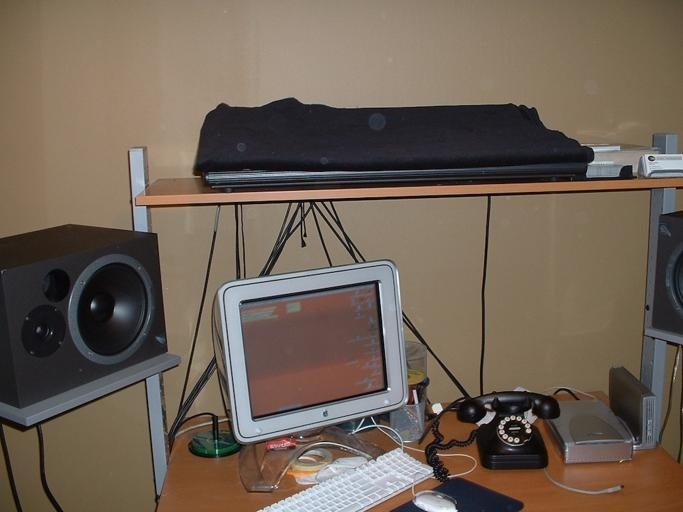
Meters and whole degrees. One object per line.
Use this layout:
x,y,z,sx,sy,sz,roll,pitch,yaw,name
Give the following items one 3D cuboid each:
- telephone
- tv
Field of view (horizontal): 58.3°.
0.538,0.525,1.883,0.289,0.183,0.250,-5,7,2,telephone
-0.087,0.317,1.938,0.535,0.651,0.317,-9,25,-11,tv
